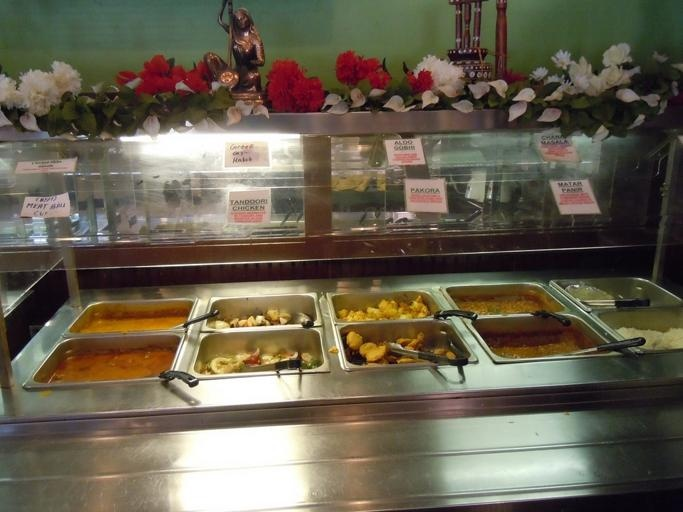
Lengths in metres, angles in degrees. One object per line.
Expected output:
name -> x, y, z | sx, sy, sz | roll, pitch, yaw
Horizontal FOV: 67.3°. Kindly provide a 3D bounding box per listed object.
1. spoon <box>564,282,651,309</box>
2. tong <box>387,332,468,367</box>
spoon -> 1.246, 0.166, 2.416 | 0.285, 0.090, 0.269 | 15, 23, 42
tong -> 0.332, 0.381, 2.031 | 0.338, 0.074, 0.135 | 7, 24, 22
